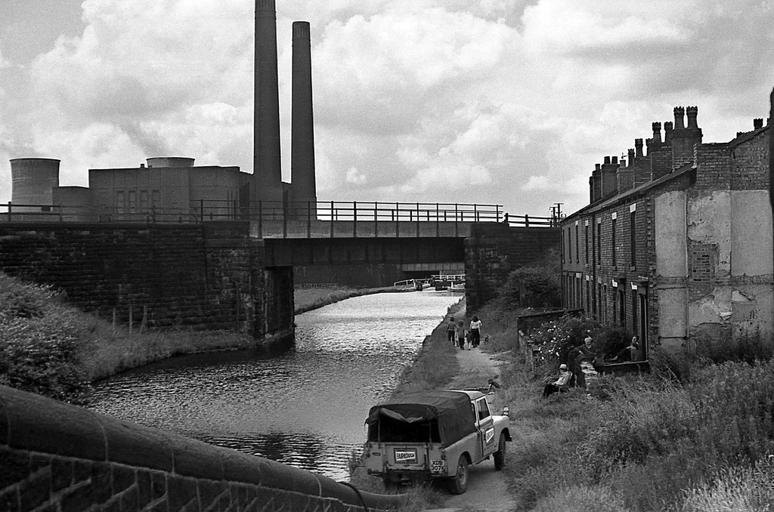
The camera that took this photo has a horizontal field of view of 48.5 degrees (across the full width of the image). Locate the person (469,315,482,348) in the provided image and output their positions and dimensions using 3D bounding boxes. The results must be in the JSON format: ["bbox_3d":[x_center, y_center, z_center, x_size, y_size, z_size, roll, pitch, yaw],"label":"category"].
[{"bbox_3d":[4.670,3.988,45.430,0.471,1.651,1.365,-2,-3,2],"label":"person"}]

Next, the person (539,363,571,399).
[{"bbox_3d":[5.732,4.365,29.345,0.854,1.430,0.640,7,4,-1],"label":"person"}]

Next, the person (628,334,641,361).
[{"bbox_3d":[8.968,3.359,31.179,0.420,0.803,1.527,-3,-3,16],"label":"person"}]

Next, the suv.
[{"bbox_3d":[1.384,4.785,22.222,3.660,2.385,1.781,0,-3,-36],"label":"suv"}]

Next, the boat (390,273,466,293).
[{"bbox_3d":[7.175,4.619,147.879,11.567,3.534,30.439,-2,-3,4],"label":"boat"}]
